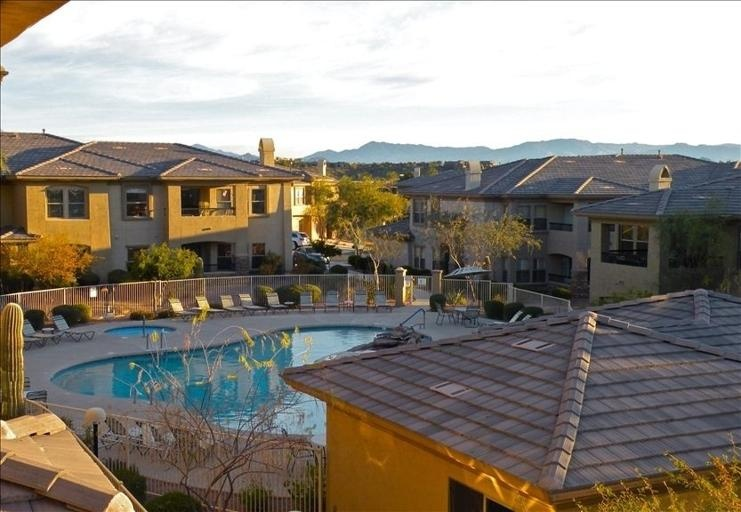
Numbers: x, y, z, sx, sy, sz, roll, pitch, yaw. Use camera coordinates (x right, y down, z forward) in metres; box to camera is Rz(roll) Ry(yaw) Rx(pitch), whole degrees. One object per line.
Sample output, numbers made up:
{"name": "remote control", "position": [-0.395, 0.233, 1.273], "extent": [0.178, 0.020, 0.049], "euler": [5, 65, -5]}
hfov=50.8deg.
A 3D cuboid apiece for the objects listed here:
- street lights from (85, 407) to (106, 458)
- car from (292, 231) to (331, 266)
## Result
{"name": "street lights", "position": [-6.650, 4.334, 18.892], "extent": [0.478, 1.263, 0.531], "euler": [4, 4, 29]}
{"name": "car", "position": [-4.787, -0.408, 58.494], "extent": [1.956, 2.080, 4.128], "euler": [-5, 11, -44]}
